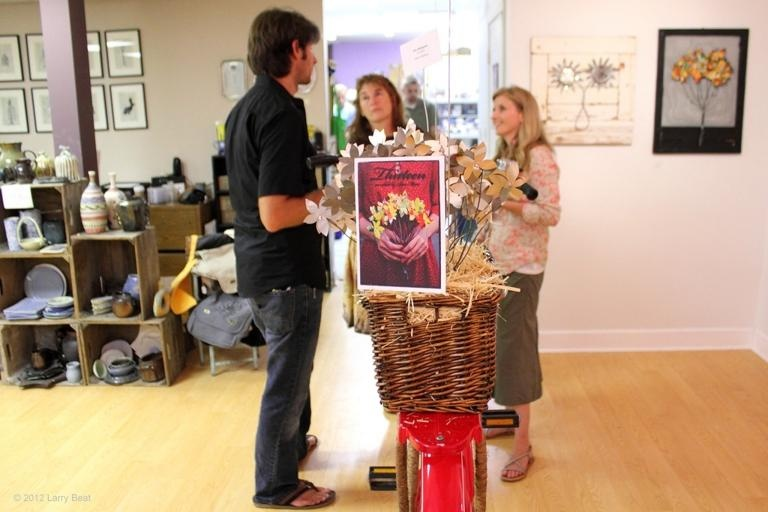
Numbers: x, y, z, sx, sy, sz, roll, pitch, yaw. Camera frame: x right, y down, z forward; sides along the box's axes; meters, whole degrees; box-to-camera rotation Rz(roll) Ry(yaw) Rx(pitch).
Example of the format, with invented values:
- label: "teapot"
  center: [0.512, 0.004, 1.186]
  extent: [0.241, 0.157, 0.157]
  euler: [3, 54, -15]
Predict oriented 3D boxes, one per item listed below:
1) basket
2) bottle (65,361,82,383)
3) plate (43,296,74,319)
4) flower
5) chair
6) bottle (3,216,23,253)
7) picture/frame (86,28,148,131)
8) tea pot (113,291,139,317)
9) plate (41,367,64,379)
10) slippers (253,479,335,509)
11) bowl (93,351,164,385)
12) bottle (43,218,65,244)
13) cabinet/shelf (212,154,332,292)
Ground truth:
- label: "basket"
  center: [0.169, 0.374, 2.524]
  extent: [0.528, 0.397, 0.486]
  euler: [-1, 0, 0]
- label: "bottle"
  center: [-2.406, 0.898, 4.603]
  extent: [0.110, 0.147, 0.153]
  euler: [-11, 16, -32]
- label: "plate"
  center: [-2.497, 0.396, 4.610]
  extent: [0.226, 0.122, 0.203]
  euler: [-3, 13, -3]
- label: "flower"
  center: [0.185, -0.319, 2.432]
  extent: [0.363, 0.323, 0.531]
  euler: [9, -5, -40]
- label: "chair"
  center: [-1.243, 0.556, 4.810]
  extent: [0.631, 0.813, 0.772]
  euler: [-1, 7, 2]
- label: "bottle"
  center: [-2.840, -0.162, 4.556]
  extent: [0.112, 0.240, 0.148]
  euler: [-9, 14, -23]
- label: "picture/frame"
  center: [-3.223, -2.101, 7.190]
  extent: [0.701, 1.176, 0.128]
  euler: [-2, 14, 6]
- label: "tea pot"
  center: [-1.972, 0.382, 4.609]
  extent: [0.182, 0.169, 0.179]
  euler: [1, -3, 0]
- label: "plate"
  center: [-2.570, 0.903, 4.640]
  extent: [0.145, 0.035, 0.153]
  euler: [-10, 15, -30]
- label: "slippers"
  center: [-0.505, 1.385, 3.391]
  extent: [0.364, 0.113, 0.187]
  euler: [-2, 8, -8]
- label: "bowl"
  center: [-1.961, 0.882, 4.592]
  extent: [0.377, 0.119, 0.271]
  euler: [-2, 8, -18]
- label: "bottle"
  center: [-2.524, -0.190, 4.559]
  extent: [0.185, 0.201, 0.179]
  euler: [0, 1, 4]
- label: "cabinet/shelf"
  center: [-0.628, -0.247, 3.576]
  extent: [0.689, 1.220, 0.703]
  euler: [-4, 8, -14]
